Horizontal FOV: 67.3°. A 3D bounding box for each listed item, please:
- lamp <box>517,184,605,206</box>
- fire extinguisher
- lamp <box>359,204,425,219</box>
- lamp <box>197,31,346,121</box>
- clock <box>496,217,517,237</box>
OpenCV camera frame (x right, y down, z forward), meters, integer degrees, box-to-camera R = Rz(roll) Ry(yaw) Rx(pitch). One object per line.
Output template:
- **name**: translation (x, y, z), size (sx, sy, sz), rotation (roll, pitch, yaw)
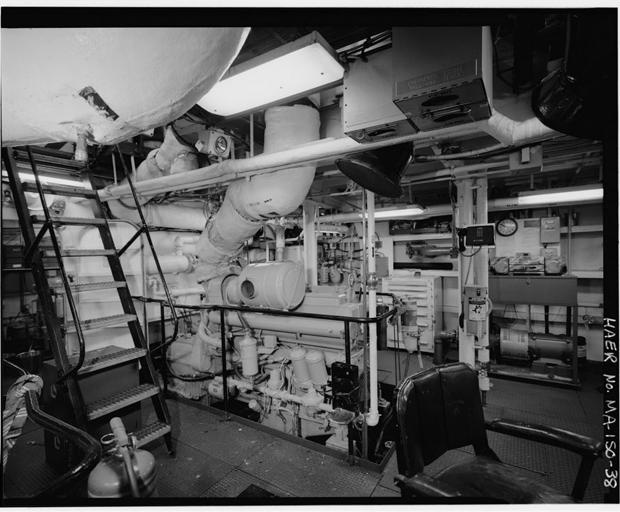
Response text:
- **lamp**: translation (2.796, -0.683, 5.247), size (0.339, 0.222, 0.917), rotation (-5, 10, -33)
- **fire extinguisher**: translation (-1.195, 1.297, 2.890), size (0.399, 0.486, 0.327), rotation (1, 9, 5)
- **lamp**: translation (1.281, -0.616, 6.603), size (0.667, 0.247, 1.082), rotation (2, 9, 10)
- **lamp**: translation (-0.291, -1.315, 3.499), size (0.935, 0.132, 0.459), rotation (-4, -8, 34)
- **clock**: translation (2.956, -0.443, 6.971), size (0.064, 0.285, 0.269), rotation (8, -8, -33)
